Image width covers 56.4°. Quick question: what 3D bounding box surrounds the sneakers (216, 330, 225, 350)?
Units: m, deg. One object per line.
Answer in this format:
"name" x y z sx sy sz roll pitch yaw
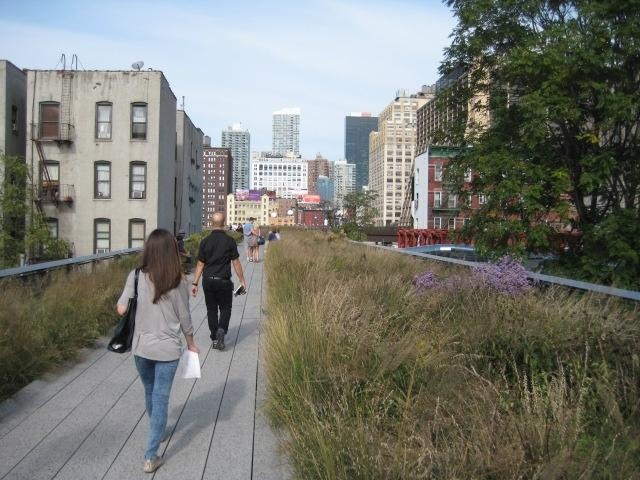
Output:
"sneakers" -1.789 1.763 10.700 0.104 0.398 0.245 0 5 -8

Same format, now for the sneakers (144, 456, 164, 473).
"sneakers" -2.042 2.675 7.230 0.093 0.141 0.292 1 15 1

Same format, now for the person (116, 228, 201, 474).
"person" -2.034 1.302 7.460 0.816 2.852 0.658 -4 6 -43

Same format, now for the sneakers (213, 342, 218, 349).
"sneakers" -1.892 1.860 10.705 0.114 0.158 0.104 -1 2 -8

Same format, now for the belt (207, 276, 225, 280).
"belt" -1.854 0.668 10.676 0.244 0.064 0.029 -1 5 -12
